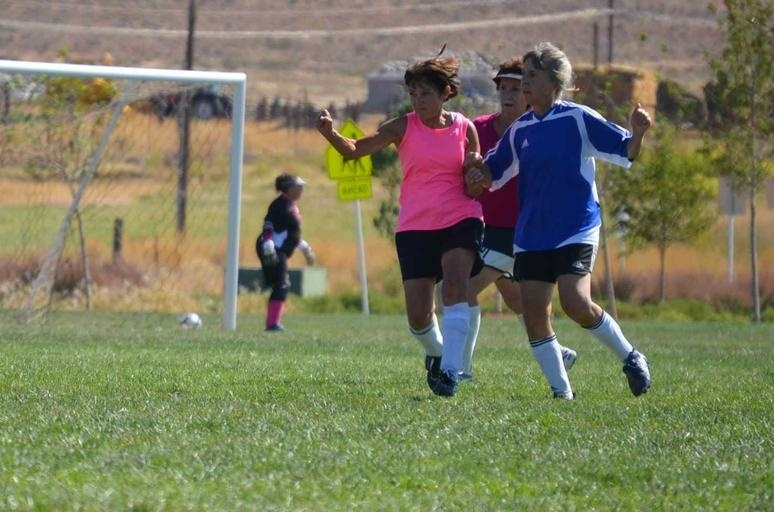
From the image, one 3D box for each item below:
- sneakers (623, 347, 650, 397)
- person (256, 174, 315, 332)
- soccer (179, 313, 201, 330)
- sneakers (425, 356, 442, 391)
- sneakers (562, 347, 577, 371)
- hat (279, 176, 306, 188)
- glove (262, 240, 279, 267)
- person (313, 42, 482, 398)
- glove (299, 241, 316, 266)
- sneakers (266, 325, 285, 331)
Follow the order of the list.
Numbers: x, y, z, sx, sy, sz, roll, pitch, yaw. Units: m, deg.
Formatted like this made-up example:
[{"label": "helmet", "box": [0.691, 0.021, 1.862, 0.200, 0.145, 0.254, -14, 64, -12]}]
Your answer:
[{"label": "sneakers", "box": [2.884, 1.340, 17.549, 0.287, 0.635, 0.225, 1, -13, -36]}, {"label": "person", "box": [-1.559, -0.081, 22.700, 0.821, 2.361, 0.932, 0, -4, -5]}, {"label": "soccer", "box": [-2.910, 0.930, 22.385, 0.341, 0.255, 0.745, 0, -4, -8]}, {"label": "sneakers", "box": [0.549, 1.349, 17.778, 0.124, 0.402, 0.166, -1, 27, 2]}, {"label": "sneakers", "box": [2.234, 1.218, 18.359, 0.179, 0.406, 0.129, 5, -16, 5]}, {"label": "hat", "box": [-1.416, -1.135, 22.590, 0.305, 0.130, 0.181, -4, 6, -19]}, {"label": "glove", "box": [-1.730, -0.074, 22.257, 0.220, 0.355, 0.140, -8, 13, -12]}, {"label": "person", "box": [0.412, -0.362, 17.637, 1.434, 3.918, 0.529, 0, -4, 3]}, {"label": "glove", "box": [-1.230, -0.041, 22.737, 0.092, 0.407, 0.257, -14, 17, 30]}, {"label": "sneakers", "box": [-1.672, 1.055, 22.566, 0.259, 0.124, 0.099, -6, -3, 15]}]
